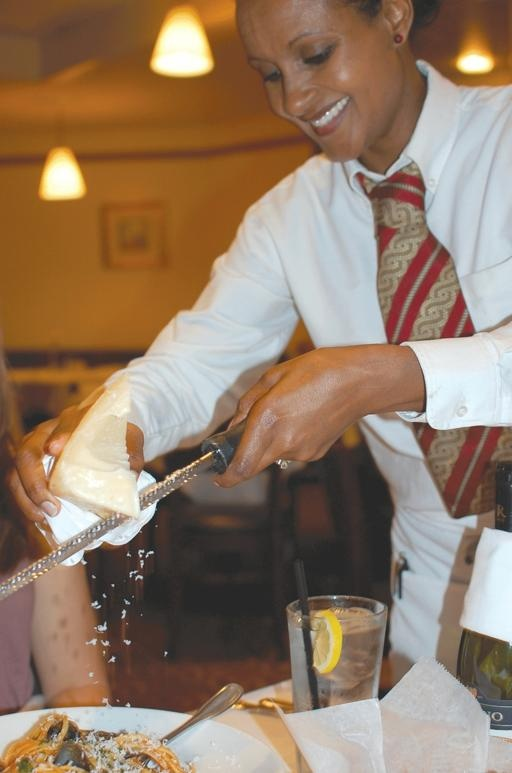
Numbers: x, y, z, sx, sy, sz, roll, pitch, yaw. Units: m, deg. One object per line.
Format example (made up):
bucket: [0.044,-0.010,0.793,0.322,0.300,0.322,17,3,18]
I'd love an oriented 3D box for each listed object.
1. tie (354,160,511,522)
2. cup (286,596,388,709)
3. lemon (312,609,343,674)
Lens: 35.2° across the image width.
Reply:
tie: [0.256,-0.075,1.195,0.143,0.507,0.273,-6,12,-7]
cup: [0.075,0.243,0.791,0.118,0.115,0.114,-1,0,0]
lemon: [0.069,0.243,0.762,0.027,0.061,0.031,-2,12,12]
